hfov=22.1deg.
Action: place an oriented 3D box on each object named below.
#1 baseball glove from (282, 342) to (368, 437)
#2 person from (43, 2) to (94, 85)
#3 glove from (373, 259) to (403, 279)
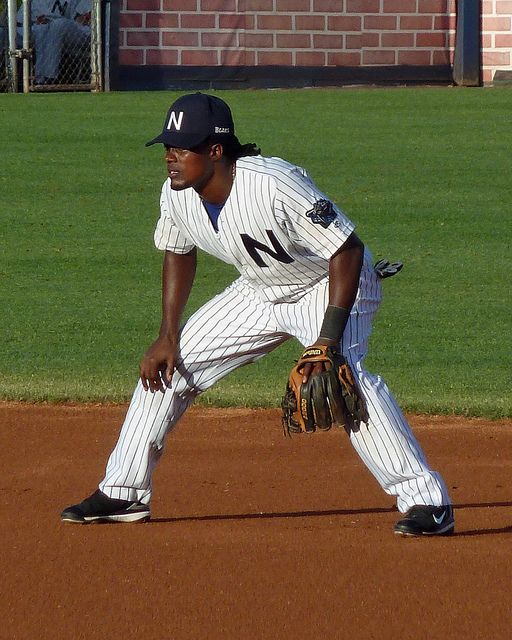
[{"bbox_3d":[0.285,0.329,6.038,0.287,0.490,0.201,-5,6,-3],"label":"baseball glove"},{"bbox_3d":[-1.968,-2.795,13.391,0.550,1.111,0.599,2,11,-16],"label":"person"},{"bbox_3d":[0.627,-0.244,6.328,0.098,0.035,0.105,15,58,47],"label":"glove"}]
